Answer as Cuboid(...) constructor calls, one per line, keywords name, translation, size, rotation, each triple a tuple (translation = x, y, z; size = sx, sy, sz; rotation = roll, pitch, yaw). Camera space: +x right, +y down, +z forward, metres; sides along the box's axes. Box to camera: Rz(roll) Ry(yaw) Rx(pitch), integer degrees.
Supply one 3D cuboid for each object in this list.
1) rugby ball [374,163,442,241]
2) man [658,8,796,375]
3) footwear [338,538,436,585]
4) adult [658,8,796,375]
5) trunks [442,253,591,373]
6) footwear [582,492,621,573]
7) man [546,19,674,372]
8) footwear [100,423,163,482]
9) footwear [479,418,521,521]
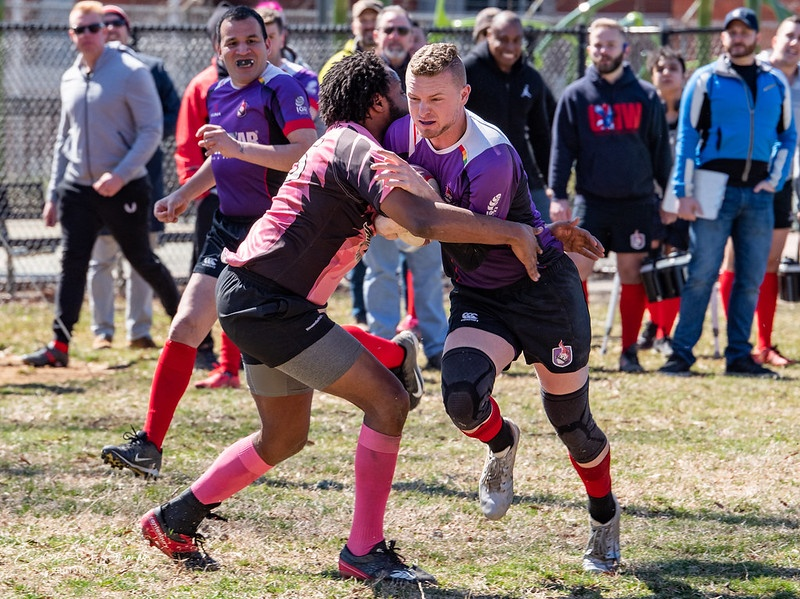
Cuboid(name="rugby ball", translation=(0.034, -0.464, 5.483), size=(0.320, 0.399, 0.410), rotation=(1, 14, 1))
Cuboid(name="man", translation=(2.657, -0.827, 8.740), size=(0.946, 2.908, 0.462), rotation=(4, 14, 13))
Cuboid(name="footwear", translation=(-0.075, 1.384, 5.649), size=(0.550, 0.236, 0.195), rotation=(1, -24, 24))
Cuboid(name="adult", translation=(2.654, -0.827, 8.740), size=(0.941, 2.908, 0.461), rotation=(4, 14, 13))
Cuboid(name="trunks", translation=(0.676, 0.023, 6.029), size=(0.836, 0.731, 0.469), rotation=(5, 24, 35))
Cuboid(name="footwear", translation=(1.106, 1.268, 5.900), size=(0.132, 0.403, 0.172), rotation=(3, -9, 24))
Cuboid(name="man", translation=(1.782, -0.821, 9.060), size=(1.039, 2.860, 0.976), rotation=(-2, 2, -3))
Cuboid(name="footwear", translation=(-1.539, 0.889, 6.288), size=(0.162, 0.246, 0.434), rotation=(-4, -23, 32))
Cuboid(name="footwear", translation=(0.578, 0.957, 6.239), size=(0.198, 0.594, 0.250), rotation=(6, 0, 21))
